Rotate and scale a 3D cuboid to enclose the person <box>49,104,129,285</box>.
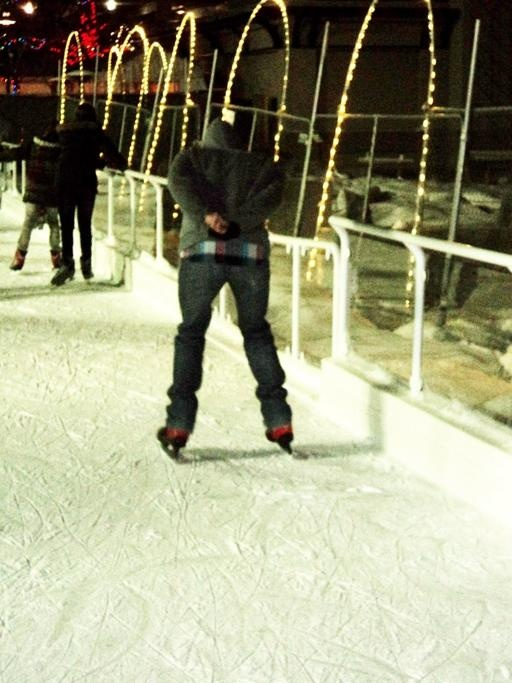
[{"bbox_3d":[-1.915,-1.619,7.344,0.756,1.960,0.593,-2,10,-15],"label":"person"}]

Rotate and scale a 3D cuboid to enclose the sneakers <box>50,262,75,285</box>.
[{"bbox_3d":[-2.173,-0.725,7.419,0.186,0.123,0.454,-1,-23,-31],"label":"sneakers"}]

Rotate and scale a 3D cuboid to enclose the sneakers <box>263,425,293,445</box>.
[{"bbox_3d":[0.108,0.443,3.183,0.093,0.089,0.118,6,-22,-26],"label":"sneakers"}]

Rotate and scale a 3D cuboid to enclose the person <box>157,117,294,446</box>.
[{"bbox_3d":[-0.123,-0.231,3.041,0.662,1.557,0.322,-2,10,-13],"label":"person"}]

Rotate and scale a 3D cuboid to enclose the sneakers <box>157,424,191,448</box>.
[{"bbox_3d":[-0.378,0.446,3.054,0.152,0.089,0.148,10,-17,-12],"label":"sneakers"}]

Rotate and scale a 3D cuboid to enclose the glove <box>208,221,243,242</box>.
[{"bbox_3d":[-0.136,-0.482,2.888,0.144,0.085,0.101,0,10,-3],"label":"glove"}]

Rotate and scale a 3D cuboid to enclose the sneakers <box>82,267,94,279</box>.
[{"bbox_3d":[-1.977,-0.848,7.762,0.118,0.154,0.206,19,1,-19],"label":"sneakers"}]
